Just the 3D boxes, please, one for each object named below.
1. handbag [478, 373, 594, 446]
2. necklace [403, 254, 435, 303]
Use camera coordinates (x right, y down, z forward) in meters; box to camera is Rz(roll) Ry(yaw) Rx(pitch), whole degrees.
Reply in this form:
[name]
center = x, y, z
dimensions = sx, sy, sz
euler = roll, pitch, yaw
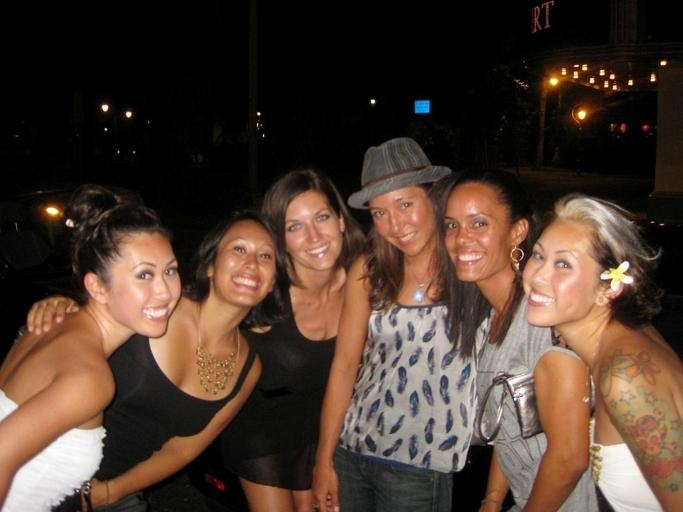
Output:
[handbag]
center = 1.186, 0.914, 3.351
dimensions = 0.440, 0.287, 0.204
euler = -12, 14, 15
[necklace]
center = 0.614, 0.210, 4.377
dimensions = 0.212, 0.147, 0.397
euler = -6, 52, 29
